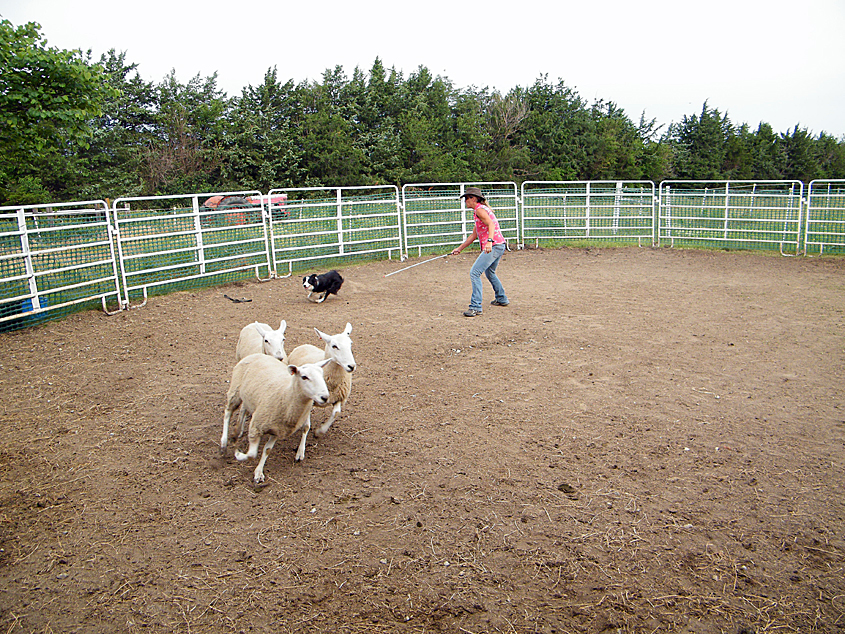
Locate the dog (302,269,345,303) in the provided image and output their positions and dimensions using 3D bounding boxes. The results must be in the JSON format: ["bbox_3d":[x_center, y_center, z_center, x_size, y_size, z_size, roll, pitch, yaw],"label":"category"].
[{"bbox_3d":[-2.215,-0.691,12.953,0.703,0.610,0.907,3,15,14],"label":"dog"}]

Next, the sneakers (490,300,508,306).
[{"bbox_3d":[1.572,-0.290,12.039,0.295,0.141,0.120,1,18,-2],"label":"sneakers"}]

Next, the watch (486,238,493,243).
[{"bbox_3d":[1.275,-1.453,11.158,0.101,0.098,0.067,-1,45,-15],"label":"watch"}]

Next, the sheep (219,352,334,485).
[{"bbox_3d":[-1.527,0.944,5.984,0.867,1.151,1.506,-11,18,-36],"label":"sheep"}]

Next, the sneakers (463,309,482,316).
[{"bbox_3d":[0.969,-0.099,11.260,0.319,0.171,0.132,-2,9,-4],"label":"sneakers"}]
